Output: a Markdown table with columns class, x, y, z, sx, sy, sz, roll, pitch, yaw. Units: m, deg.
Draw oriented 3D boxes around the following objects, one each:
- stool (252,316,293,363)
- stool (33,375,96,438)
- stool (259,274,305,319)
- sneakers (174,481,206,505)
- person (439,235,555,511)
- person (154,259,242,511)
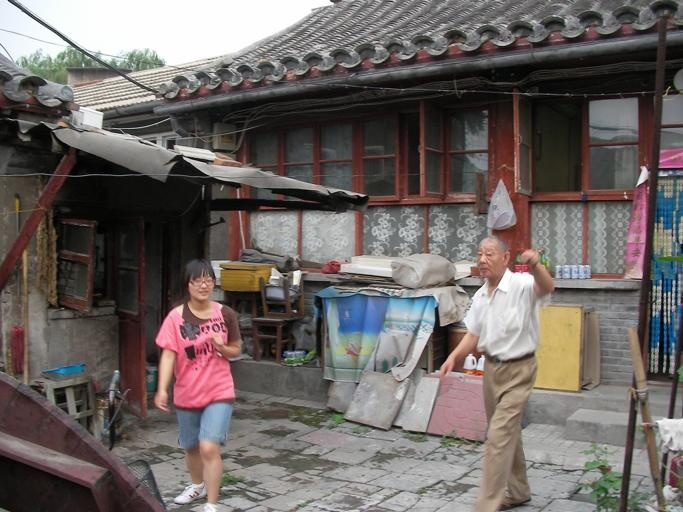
| class | x | y | z | sx | sy | sz | roll | pitch | yaw |
| --- | --- | --- | --- | --- | --- | --- | --- | --- | --- |
| stool | -1.061 | 1.249 | 9.565 | 0.706 | 0.682 | 0.436 | 1 | 5 | 30 |
| stool | -3.041 | 1.679 | 6.925 | 0.531 | 0.677 | 0.551 | 1 | 5 | 37 |
| stool | -0.907 | 0.639 | 9.572 | 0.592 | 0.658 | 0.700 | 0 | 1 | 39 |
| sneakers | -1.343 | 2.143 | 5.700 | 0.379 | 0.163 | 0.126 | -3 | 6 | -41 |
| person | 1.364 | 1.016 | 5.269 | 0.772 | 2.358 | 0.868 | -1 | 4 | 7 |
| person | -1.174 | 1.047 | 5.200 | 0.668 | 2.013 | 0.499 | -2 | 4 | -10 |
